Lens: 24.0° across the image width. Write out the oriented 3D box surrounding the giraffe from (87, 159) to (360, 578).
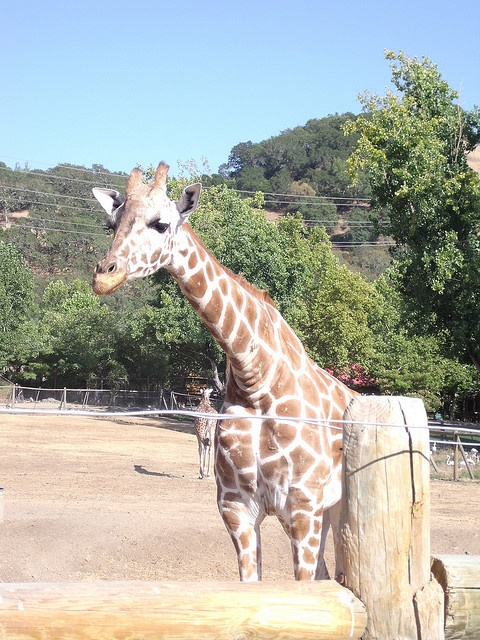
[{"bbox_3d":[-0.036,0.372,7.304,1.682,2.748,1.004,0,-4,-12],"label":"giraffe"}]
